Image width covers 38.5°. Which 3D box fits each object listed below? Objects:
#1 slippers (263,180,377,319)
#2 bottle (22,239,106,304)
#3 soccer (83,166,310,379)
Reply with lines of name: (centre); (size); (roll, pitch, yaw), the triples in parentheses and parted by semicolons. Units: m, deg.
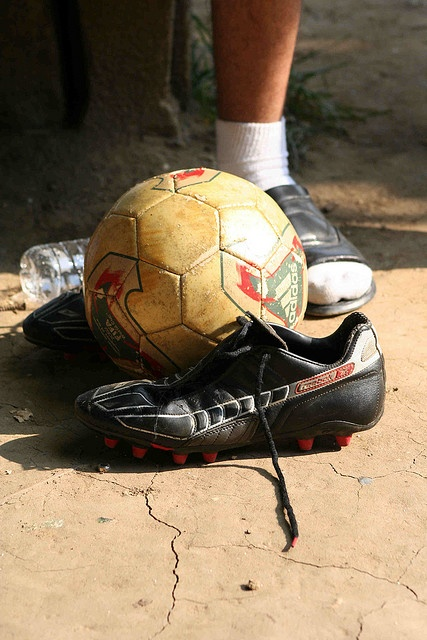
slippers: (0.369, -0.376, 2.532); (0.389, 0.355, 0.852); (-15, 39, -12)
bottle: (-0.703, -0.236, 2.780); (0.270, 0.201, 0.494); (36, 30, 13)
soccer: (-0.051, -0.137, 1.756); (0.683, 0.533, 0.570); (14, 12, 25)
